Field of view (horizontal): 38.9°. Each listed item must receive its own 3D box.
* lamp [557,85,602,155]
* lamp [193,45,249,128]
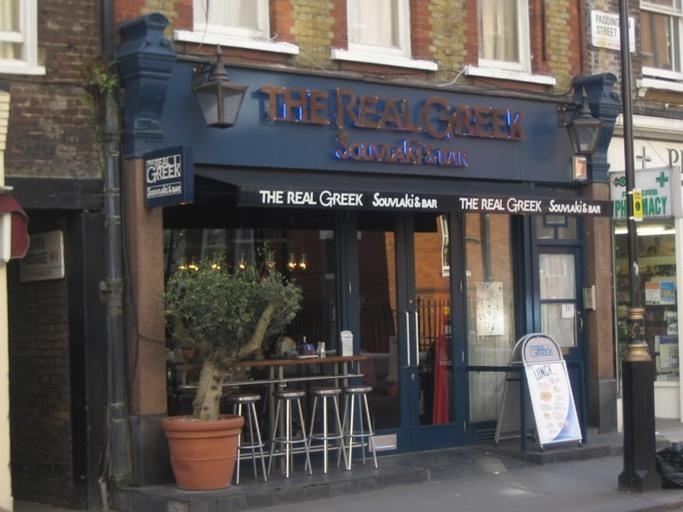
[{"bbox_3d":[3.448,-1.952,13.996,0.544,0.978,0.681,2,5,2],"label":"lamp"},{"bbox_3d":[-1.492,-2.031,11.733,0.690,0.931,0.370,5,6,34],"label":"lamp"}]
